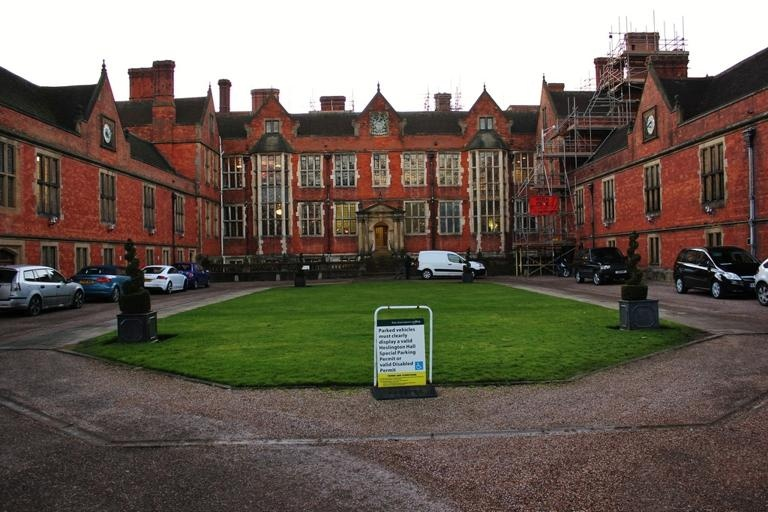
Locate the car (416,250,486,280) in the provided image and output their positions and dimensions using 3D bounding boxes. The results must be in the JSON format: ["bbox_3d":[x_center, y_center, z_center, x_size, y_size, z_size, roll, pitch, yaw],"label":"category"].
[{"bbox_3d":[4.211,0.515,45.072,3.604,1.449,2.036,-1,1,0],"label":"car"}]

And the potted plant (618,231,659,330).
[{"bbox_3d":[7.341,0.666,19.912,1.084,2.889,1.376,-4,-1,19],"label":"potted plant"}]

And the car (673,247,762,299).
[{"bbox_3d":[13.656,0.568,27.879,1.903,2.219,4.307,-3,0,-7],"label":"car"}]
